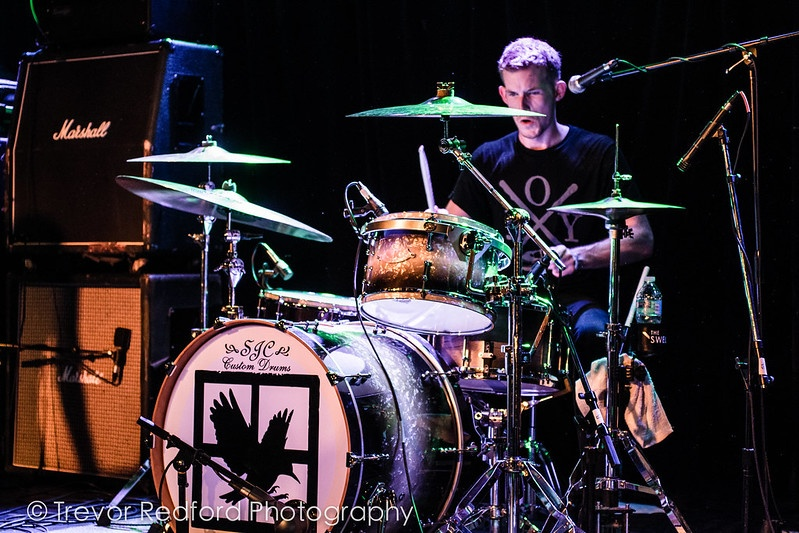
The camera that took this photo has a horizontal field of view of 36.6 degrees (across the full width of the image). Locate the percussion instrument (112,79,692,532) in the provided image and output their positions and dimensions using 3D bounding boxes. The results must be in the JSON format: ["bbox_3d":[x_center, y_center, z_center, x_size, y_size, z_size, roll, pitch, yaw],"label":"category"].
[{"bbox_3d":[0.155,-0.244,7.770,3.649,2.613,2.555,-1,-4,8],"label":"percussion instrument"}]

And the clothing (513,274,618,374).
[{"bbox_3d":[1.007,0.337,6.945,0.476,0.417,0.616,-4,-5,11],"label":"clothing"}]

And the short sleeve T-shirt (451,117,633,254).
[{"bbox_3d":[0.896,-0.470,7.340,0.880,0.675,0.311,-2,-14,8],"label":"short sleeve T-shirt"}]

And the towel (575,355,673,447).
[{"bbox_3d":[1.345,0.810,7.077,0.558,0.540,0.240,-2,0,10],"label":"towel"}]
